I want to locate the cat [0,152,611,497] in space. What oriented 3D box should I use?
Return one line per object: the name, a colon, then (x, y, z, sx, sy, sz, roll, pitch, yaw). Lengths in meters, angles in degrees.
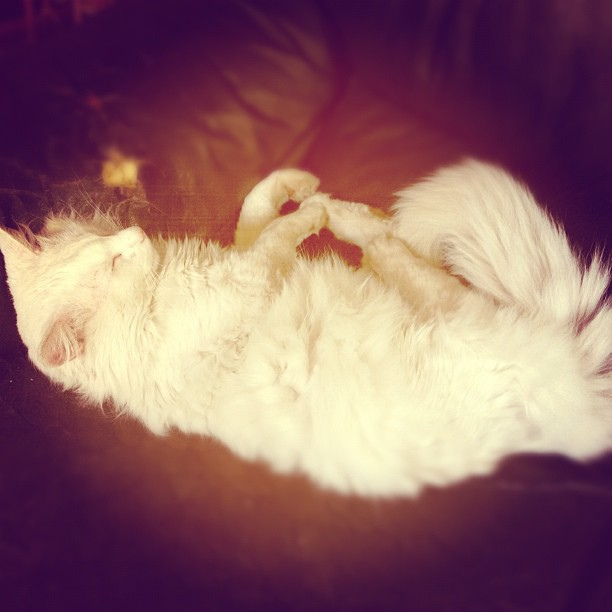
cat: (0.059, 0.069, 2.772, 1.678, 0.546, 0.894, 0, 57, 4)
